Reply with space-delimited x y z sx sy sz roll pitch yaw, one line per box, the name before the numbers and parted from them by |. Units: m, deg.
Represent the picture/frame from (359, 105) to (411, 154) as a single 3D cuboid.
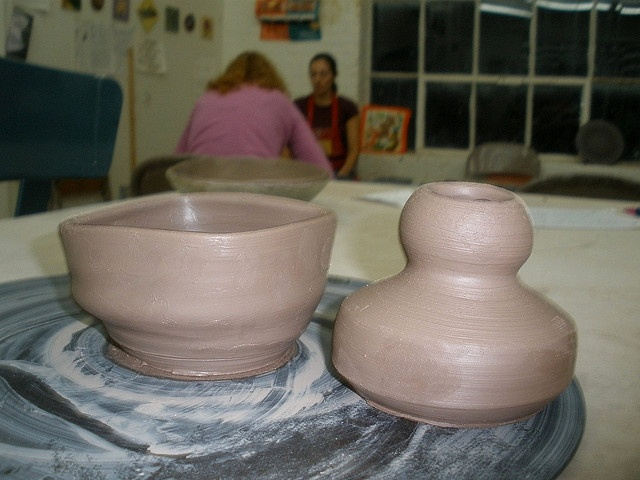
picture/frame | 0.137 -0.231 1.210 0.105 0.101 0.064 2 12 3
